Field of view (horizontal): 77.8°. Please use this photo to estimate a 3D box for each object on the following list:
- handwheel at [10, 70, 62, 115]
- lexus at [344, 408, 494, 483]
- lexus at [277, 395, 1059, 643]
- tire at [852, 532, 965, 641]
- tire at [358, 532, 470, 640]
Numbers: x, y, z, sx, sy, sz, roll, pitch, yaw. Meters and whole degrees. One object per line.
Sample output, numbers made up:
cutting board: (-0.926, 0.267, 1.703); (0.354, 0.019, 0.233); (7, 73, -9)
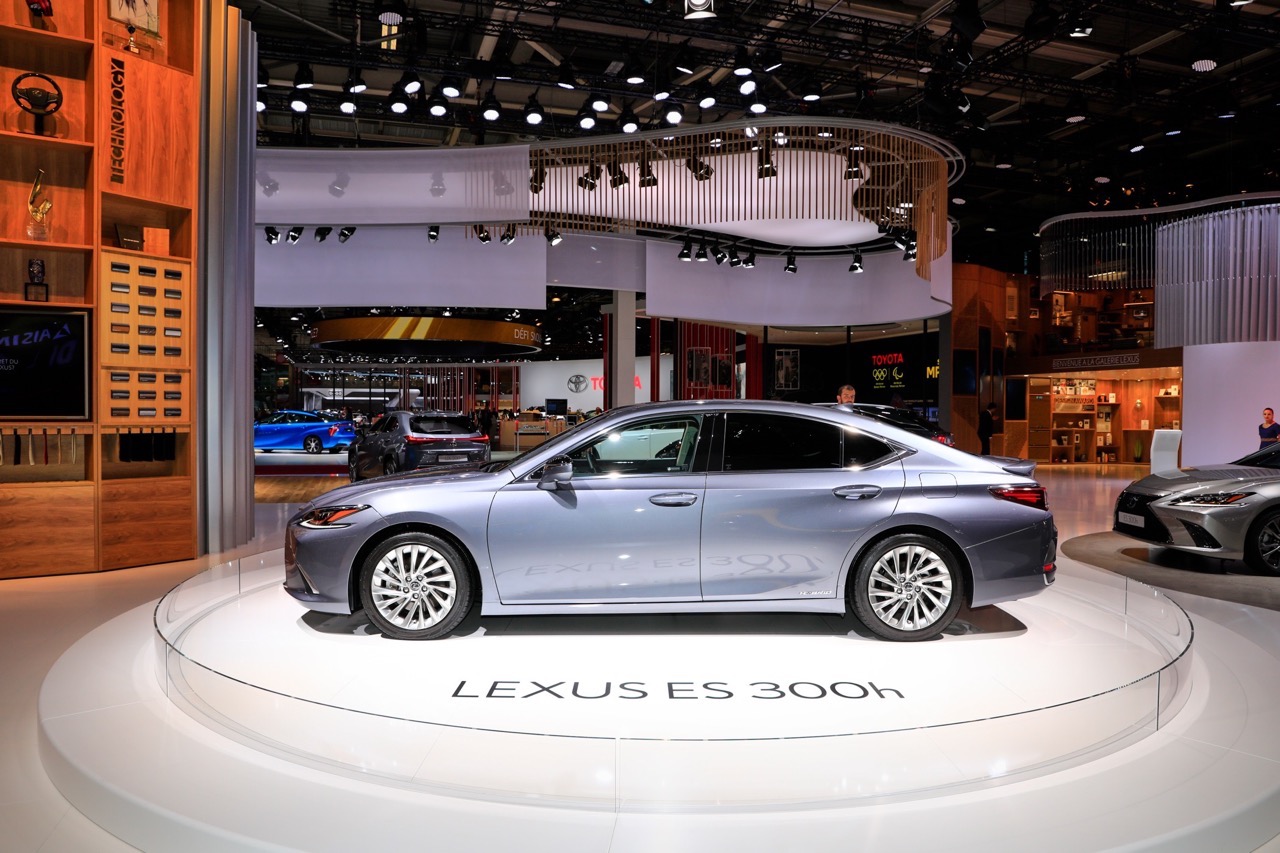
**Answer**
handwheel: (-5.757, -3.170, 7.576); (0.411, 0.470, 0.244); (-4, 4, -35)
lexus: (-3.979, 0.548, 13.796); (1.612, 1.103, 3.277); (2, 2, -29)
lexus: (0.187, 0.721, 6.320); (5.400, 1.540, 2.125); (2, -7, 0)
tire: (1.882, 1.111, 5.617); (0.810, 0.785, 0.279); (0, -1, 0)
tire: (-1.590, 1.102, 5.598); (0.804, 0.779, 0.268); (0, 0, -1)
